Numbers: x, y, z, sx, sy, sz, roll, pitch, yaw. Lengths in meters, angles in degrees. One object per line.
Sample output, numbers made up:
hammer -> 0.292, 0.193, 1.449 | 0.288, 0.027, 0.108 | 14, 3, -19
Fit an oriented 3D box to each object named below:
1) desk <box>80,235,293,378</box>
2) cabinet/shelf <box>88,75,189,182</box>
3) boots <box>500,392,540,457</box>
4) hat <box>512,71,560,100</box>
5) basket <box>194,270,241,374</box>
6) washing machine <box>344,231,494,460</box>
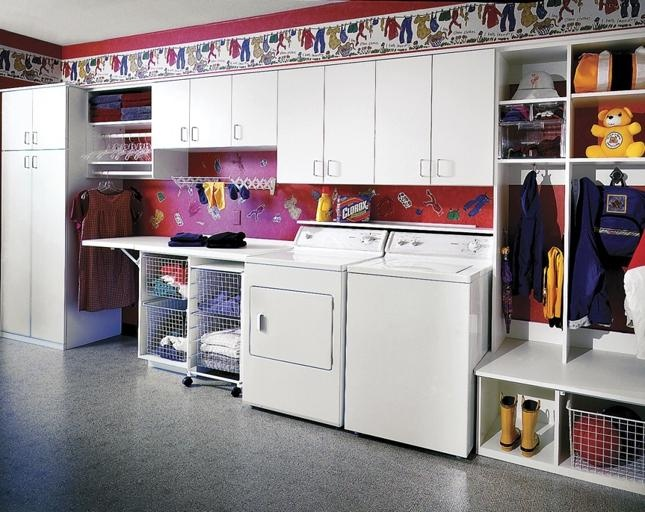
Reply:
desk -> -1.184, 0.429, 4.190 | 1.344, 0.977, 0.767 | 4, 1, 12
cabinet/shelf -> -1.706, -1.187, 4.560 | 0.967, 0.784, 0.339 | 1, 4, 2
boots -> 1.148, 0.990, 2.960 | 0.237, 0.306, 0.303 | 0, 3, 20
hat -> 1.359, -1.041, 3.152 | 0.230, 0.143, 0.229 | 6, 8, 42
basket -> -0.770, 0.534, 3.875 | 0.521, 0.915, 0.253 | 6, 9, 31
washing machine -> 0.644, 0.503, 3.273 | 0.858, 1.241, 0.705 | 4, 9, 24
